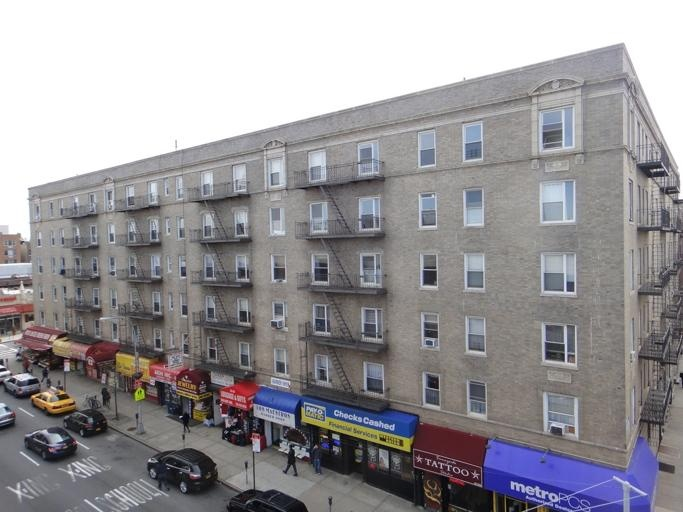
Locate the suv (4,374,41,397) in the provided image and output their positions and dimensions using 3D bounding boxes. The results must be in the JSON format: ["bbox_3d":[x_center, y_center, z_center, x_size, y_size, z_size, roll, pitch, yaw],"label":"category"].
[{"bbox_3d":[-28.273,11.604,59.171,3.296,1.845,1.679,-4,-3,32],"label":"suv"}]

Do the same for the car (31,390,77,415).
[{"bbox_3d":[-23.702,12.098,54.850,3.387,1.771,1.816,-4,-3,32],"label":"car"}]

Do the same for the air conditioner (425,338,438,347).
[{"bbox_3d":[5.694,5.561,42.637,0.923,0.499,0.627,4,-2,25],"label":"air conditioner"}]

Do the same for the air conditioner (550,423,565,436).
[{"bbox_3d":[12.621,10.176,39.110,0.573,0.914,0.956,1,-4,-45],"label":"air conditioner"}]

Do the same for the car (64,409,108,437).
[{"bbox_3d":[-19.595,12.810,51.002,2.866,1.732,1.510,-4,-3,26],"label":"car"}]

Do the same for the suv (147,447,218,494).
[{"bbox_3d":[-10.679,14.164,44.072,4.432,1.868,2.180,7,2,31],"label":"suv"}]

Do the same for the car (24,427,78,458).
[{"bbox_3d":[-20.659,13.365,47.314,3.359,1.970,1.616,-4,-3,26],"label":"car"}]

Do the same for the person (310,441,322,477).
[{"bbox_3d":[-1.727,13.858,45.538,0.632,1.835,1.272,-2,-2,-4],"label":"person"}]

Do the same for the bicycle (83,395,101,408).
[{"bbox_3d":[-21.140,12.412,56.492,2.117,1.165,0.849,-15,-3,39],"label":"bicycle"}]

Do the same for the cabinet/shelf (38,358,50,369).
[{"bbox_3d":[-29.992,10.896,67.351,0.992,0.460,1.375,6,2,-11],"label":"cabinet/shelf"}]
